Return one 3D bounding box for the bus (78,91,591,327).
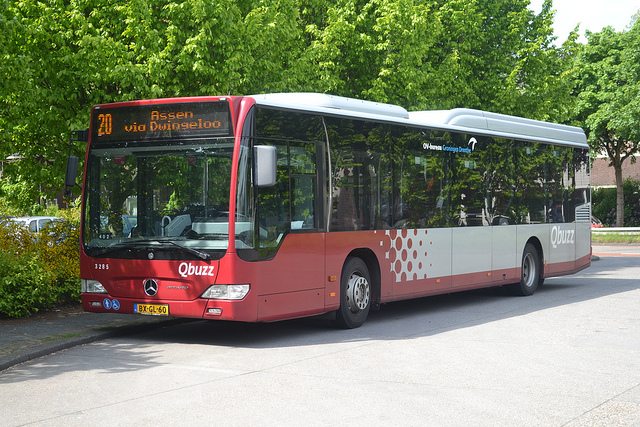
[{"bbox_3d":[2.763,-0.081,15.335,4.530,5.423,16.079,-2,-4,40],"label":"bus"}]

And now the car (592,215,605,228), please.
[{"bbox_3d":[23.259,0.610,48.528,0.753,1.057,2.222,-8,-13,36],"label":"car"}]

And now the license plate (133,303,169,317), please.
[{"bbox_3d":[-2.924,1.655,10.081,0.763,0.226,0.146,-2,-2,28],"label":"license plate"}]
